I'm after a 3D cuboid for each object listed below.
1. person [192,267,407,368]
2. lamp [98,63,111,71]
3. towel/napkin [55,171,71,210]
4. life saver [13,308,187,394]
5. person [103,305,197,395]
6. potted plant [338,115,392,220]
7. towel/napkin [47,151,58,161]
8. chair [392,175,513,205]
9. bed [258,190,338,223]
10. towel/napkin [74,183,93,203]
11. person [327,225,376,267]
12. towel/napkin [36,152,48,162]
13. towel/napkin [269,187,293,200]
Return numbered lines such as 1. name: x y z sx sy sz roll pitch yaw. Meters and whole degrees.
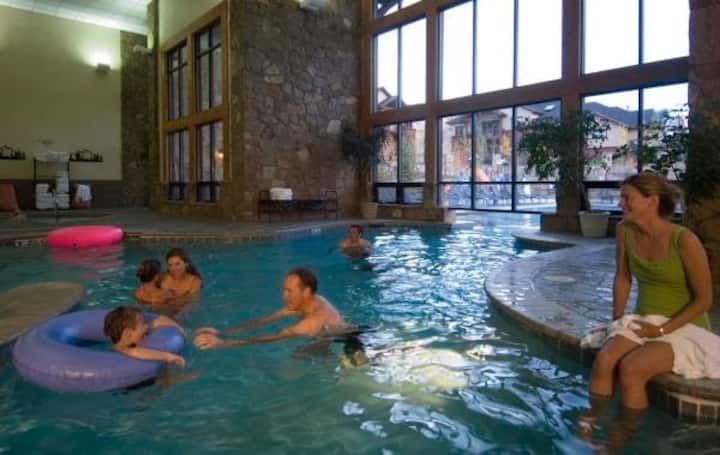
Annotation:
1. person: -0.869 0.846 4.867 1.968 0.763 0.710 3 4 -16
2. lamp: -9.906 -6.200 17.811 0.417 0.185 0.294 -1 -4 -26
3. towel/napkin: -10.799 -1.371 16.725 0.288 1.333 0.475 1 7 36
4. life saver: -2.474 1.141 4.246 1.215 0.560 0.720 -1 6 19
5. person: -1.990 1.145 4.407 0.780 0.203 0.756 -4 24 -37
6. potted plant: 0.151 -2.128 14.022 1.345 2.437 1.161 -2 6 18
7. towel/napkin: -11.058 -2.562 16.601 0.391 0.277 0.140 -6 6 -29
8. chair: 2.788 -0.908 13.062 2.952 0.733 0.689 -1 6 24
9. bed: -1.744 -0.591 12.862 2.098 0.737 0.562 -2 -1 -19
10. towel/napkin: -10.489 -1.309 17.406 0.339 0.733 0.792 6 6 35
11. person: -0.170 0.374 8.931 0.680 0.352 1.007 -6 35 -9
12. towel/napkin: -11.382 -2.510 16.479 0.284 0.117 0.289 -6 23 -6
13. towel/napkin: -2.098 -0.899 12.378 0.373 0.205 0.447 0 3 39
